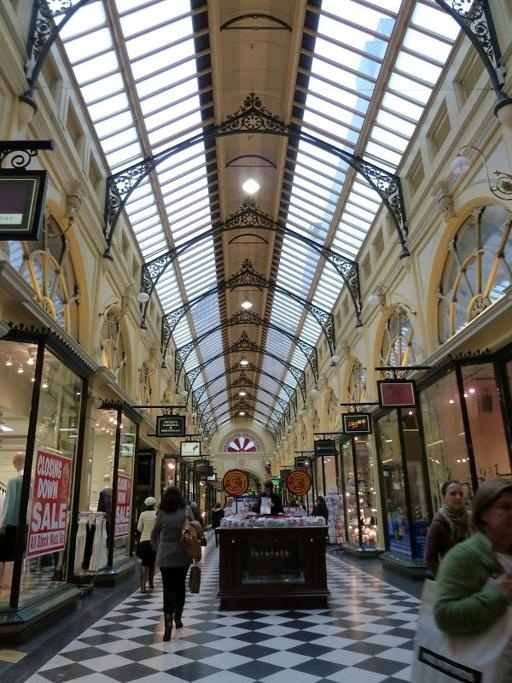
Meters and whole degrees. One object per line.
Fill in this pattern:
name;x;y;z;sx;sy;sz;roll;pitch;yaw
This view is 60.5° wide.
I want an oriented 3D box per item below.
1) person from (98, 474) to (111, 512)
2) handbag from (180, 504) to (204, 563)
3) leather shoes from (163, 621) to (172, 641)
person;-3.198;3.232;9.297;0.177;0.763;0.613;10;-22;-33
handbag;-0.759;2.274;5.170;0.226;0.630;0.572;0;-19;-7
leather shoes;-0.978;3.180;4.834;0.083;0.173;0.191;2;-19;-13
